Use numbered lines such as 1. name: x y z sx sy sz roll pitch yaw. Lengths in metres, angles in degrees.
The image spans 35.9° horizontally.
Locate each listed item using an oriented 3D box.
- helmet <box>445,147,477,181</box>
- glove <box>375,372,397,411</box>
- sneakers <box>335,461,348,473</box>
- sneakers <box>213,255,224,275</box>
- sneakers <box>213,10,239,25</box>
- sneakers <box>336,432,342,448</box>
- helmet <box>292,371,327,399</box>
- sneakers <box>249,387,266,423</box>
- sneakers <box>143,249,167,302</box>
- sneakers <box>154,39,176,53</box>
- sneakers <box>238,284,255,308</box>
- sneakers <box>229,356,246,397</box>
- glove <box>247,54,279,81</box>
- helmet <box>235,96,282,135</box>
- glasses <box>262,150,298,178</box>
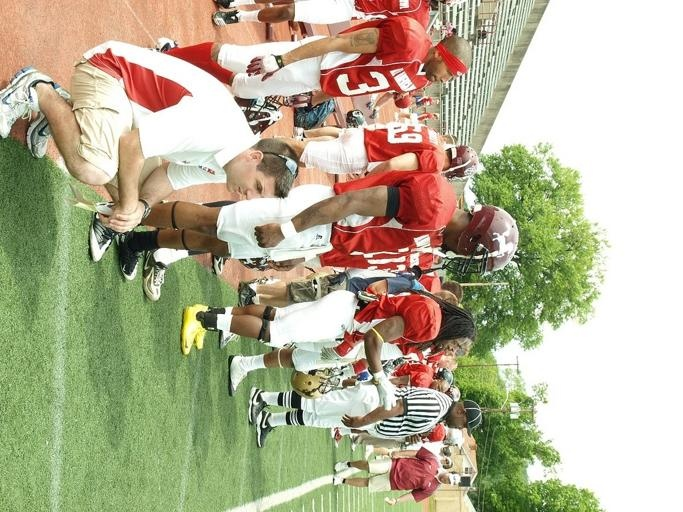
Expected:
1. helmet: 1.256 -1.005 11.141 0.343 0.356 0.400 2 -8 5
2. glove: 0.438 1.318 10.409 0.119 0.384 0.199 -7 -24 -45
3. sneakers: 0.002 2.966 14.814 0.197 0.158 0.381 2 -8 2
4. sneakers: -1.345 0.099 11.476 0.126 0.191 0.352 4 -8 -7
5. sneakers: -1.318 -2.698 12.000 0.356 0.129 0.147 -4 21 -5
6. sneakers: -0.042 2.675 15.235 0.103 0.255 0.086 6 14 -9
7. helmet: -0.385 1.479 12.094 0.370 0.281 0.375 4 -8 -6
8. sneakers: -0.958 1.681 11.945 0.193 0.406 0.140 1 -18 1
9. sneakers: -1.844 0.189 10.393 0.230 0.496 0.214 -7 0 29
10. sneakers: -1.766 -2.116 10.640 0.212 0.101 0.288 1 16 -12
11. sneakers: -1.046 0.419 11.691 0.197 0.262 0.173 1 -8 13
12. sneakers: -1.168 1.324 11.660 0.197 0.435 0.263 5 -8 -15
13. glove: -0.771 -1.853 10.463 0.312 0.189 0.428 3 -8 -4
14. helmet: -0.855 -1.477 11.383 0.395 0.291 0.351 19 -10 -4
15. glasses: -0.558 -0.841 9.658 0.232 0.070 0.233 25 -2 29
